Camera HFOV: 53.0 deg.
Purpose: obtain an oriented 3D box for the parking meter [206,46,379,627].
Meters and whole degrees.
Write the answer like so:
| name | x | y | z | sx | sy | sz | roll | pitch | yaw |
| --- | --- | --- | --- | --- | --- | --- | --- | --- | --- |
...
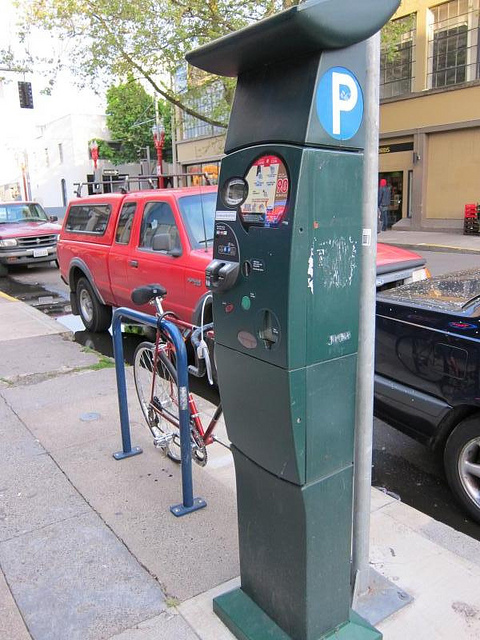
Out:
| name | x | y | z | sx | sy | sz | roll | pitch | yaw |
| --- | --- | --- | --- | --- | --- | --- | --- | --- | --- |
| parking meter | 0.131 | 0.116 | 1.620 | 0.523 | 1.970 | 0.418 | 3 | 10 | 24 |

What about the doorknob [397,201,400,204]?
| name | x | y | z | sx | sy | sz | roll | pitch | yaw |
| --- | --- | --- | --- | --- | --- | --- | --- | --- | --- |
| doorknob | 7.277 | -5.398 | 22.064 | 0.110 | 0.124 | 0.026 | 3 | 1 | 41 |

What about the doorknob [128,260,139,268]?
| name | x | y | z | sx | sy | sz | roll | pitch | yaw |
| --- | --- | --- | --- | --- | --- | --- | --- | --- | --- |
| doorknob | -1.289 | -0.666 | 5.812 | 0.117 | 0.096 | 0.043 | 5 | 4 | 32 |
